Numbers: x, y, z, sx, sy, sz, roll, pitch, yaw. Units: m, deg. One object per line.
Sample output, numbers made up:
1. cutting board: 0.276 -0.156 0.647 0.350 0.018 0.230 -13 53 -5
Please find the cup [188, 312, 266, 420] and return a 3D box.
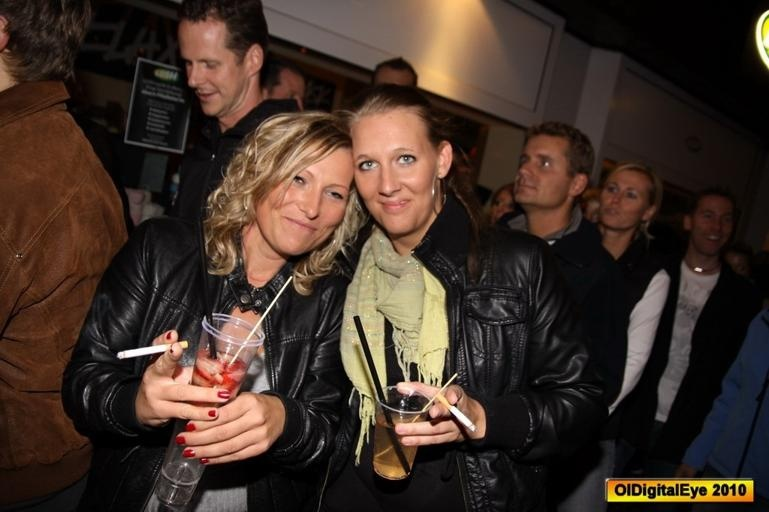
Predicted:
1. cup: -0.737 0.501 2.505 0.308 0.418 0.297 29 3 -1
